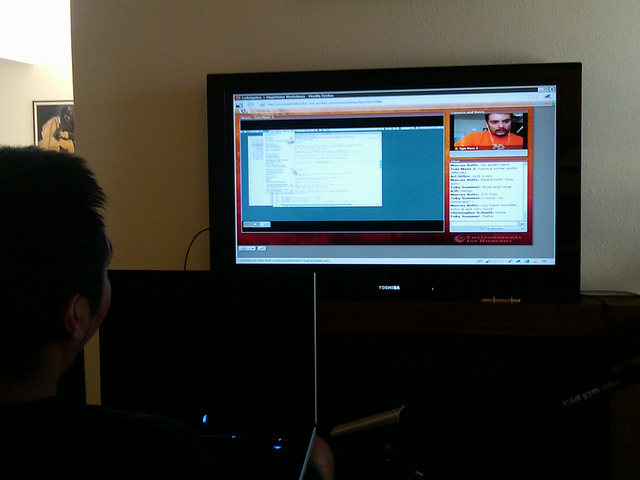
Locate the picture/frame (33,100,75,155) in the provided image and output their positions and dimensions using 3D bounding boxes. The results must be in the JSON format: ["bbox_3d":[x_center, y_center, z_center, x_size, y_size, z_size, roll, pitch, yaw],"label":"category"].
[{"bbox_3d":[-1.738,-0.760,4.231,0.230,0.317,0.491,-8,14,-40],"label":"picture/frame"}]
